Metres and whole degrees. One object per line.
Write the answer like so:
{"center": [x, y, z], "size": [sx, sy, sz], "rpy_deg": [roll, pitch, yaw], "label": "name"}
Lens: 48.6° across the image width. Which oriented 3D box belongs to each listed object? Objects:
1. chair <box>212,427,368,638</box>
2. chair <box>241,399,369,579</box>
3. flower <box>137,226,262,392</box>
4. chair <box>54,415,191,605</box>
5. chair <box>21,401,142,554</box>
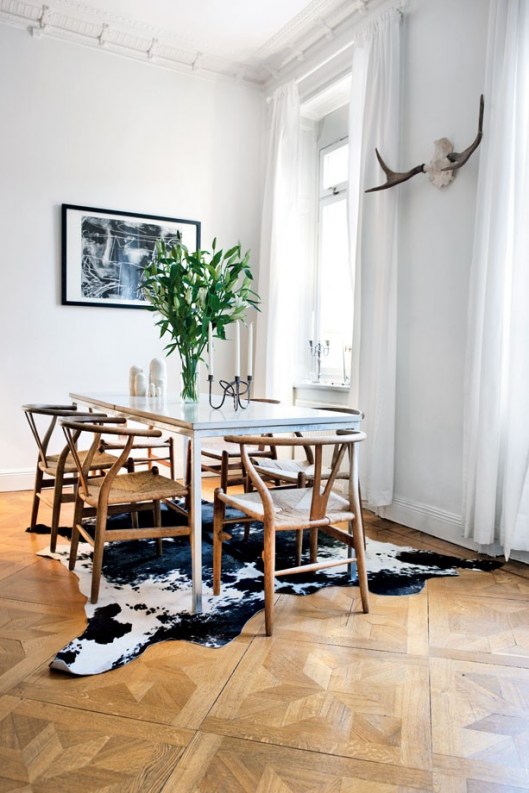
{"center": [0.102, 0.422, 2.084], "size": [0.480, 0.644, 0.451], "rpy_deg": [-3, 7, -36], "label": "chair"}
{"center": [0.159, 0.352, 2.919], "size": [0.609, 0.931, 0.729], "rpy_deg": [1, 1, -28], "label": "chair"}
{"center": [-0.329, -0.350, 2.545], "size": [0.432, 0.590, 0.416], "rpy_deg": [-2, -11, 8], "label": "flower"}
{"center": [-0.524, 0.412, 2.293], "size": [0.464, 0.663, 0.482], "rpy_deg": [4, 6, 43], "label": "chair"}
{"center": [-0.928, 0.375, 2.858], "size": [0.429, 0.651, 0.517], "rpy_deg": [-3, 7, -41], "label": "chair"}
